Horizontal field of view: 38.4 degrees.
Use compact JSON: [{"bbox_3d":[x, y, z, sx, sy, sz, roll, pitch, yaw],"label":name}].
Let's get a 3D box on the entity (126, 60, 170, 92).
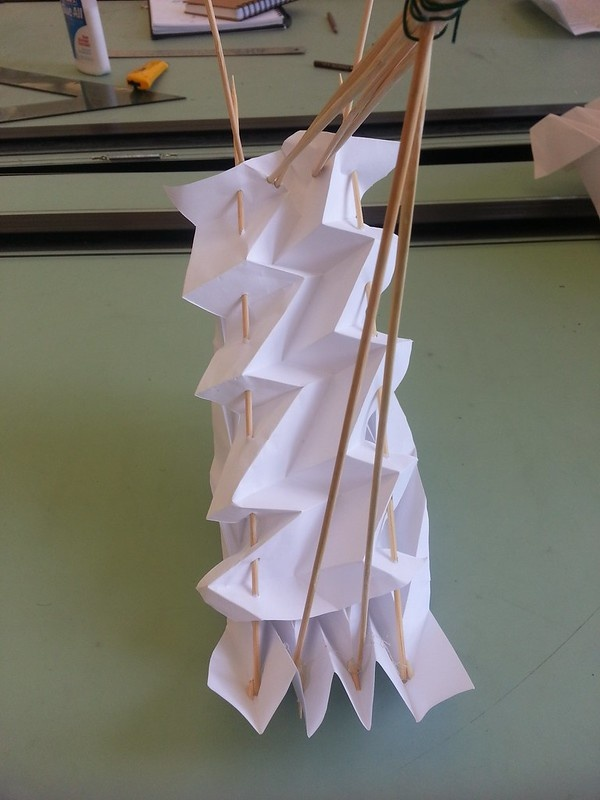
[{"bbox_3d":[-0.298,-0.652,1.707,0.055,0.034,0.090,20,41,9],"label":"entity"}]
